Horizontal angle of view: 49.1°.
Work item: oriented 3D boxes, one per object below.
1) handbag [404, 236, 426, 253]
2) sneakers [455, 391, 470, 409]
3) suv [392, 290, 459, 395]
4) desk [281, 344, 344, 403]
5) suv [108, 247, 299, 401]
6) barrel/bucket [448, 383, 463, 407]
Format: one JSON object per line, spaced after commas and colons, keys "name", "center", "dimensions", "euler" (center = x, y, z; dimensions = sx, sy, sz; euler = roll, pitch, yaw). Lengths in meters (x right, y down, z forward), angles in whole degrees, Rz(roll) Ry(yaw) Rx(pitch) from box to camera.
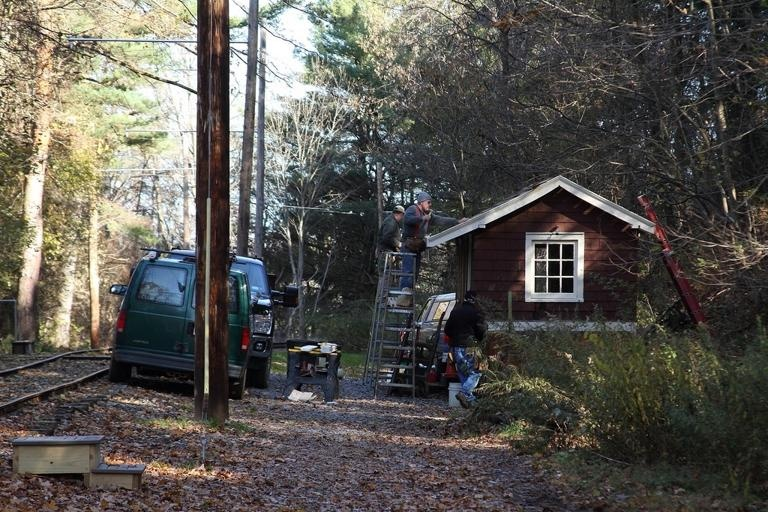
{"name": "handbag", "center": [0.838, -0.361, 22.475], "dimensions": [0.474, 0.379, 0.187], "euler": [2, 21, 1]}
{"name": "sneakers", "center": [1.785, 3.171, 18.657], "dimensions": [0.192, 0.223, 0.495], "euler": [18, -25, 42]}
{"name": "suv", "center": [1.430, 2.492, 24.312], "dimensions": [1.685, 1.698, 2.756], "euler": [2, -3, -15]}
{"name": "desk", "center": [-1.904, 2.964, 21.123], "dimensions": [1.552, 1.211, 1.551], "euler": [10, -9, -30]}
{"name": "suv", "center": [-4.319, 1.499, 19.989], "dimensions": [3.143, 1.944, 4.091], "euler": [2, 1, -4]}
{"name": "barrel/bucket", "center": [1.723, 3.400, 20.797], "dimensions": [0.501, 0.504, 0.505], "euler": [1, -4, 0]}
